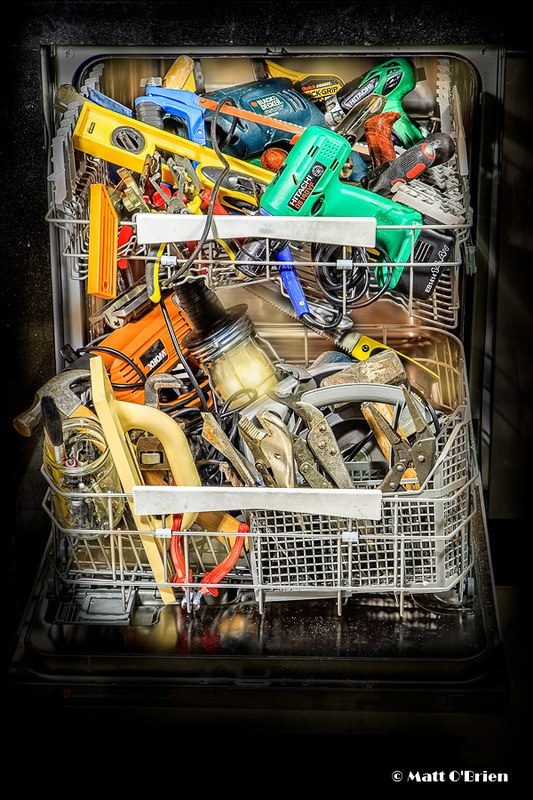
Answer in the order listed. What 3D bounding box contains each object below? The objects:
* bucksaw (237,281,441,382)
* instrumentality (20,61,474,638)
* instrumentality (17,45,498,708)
[{"bbox_3d":[0.108,-0.098,0.932,0.227,0.019,0.033,32,44,0],"label":"bucksaw"},{"bbox_3d":[-0.018,-0.152,0.791,0.507,0.753,0.267,0,-13,3],"label":"instrumentality"},{"bbox_3d":[-0.009,-0.114,0.924,0.545,0.810,0.237,0,-3,3],"label":"instrumentality"}]
